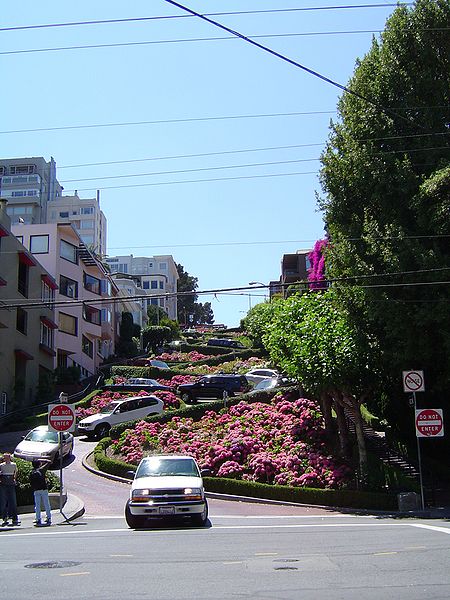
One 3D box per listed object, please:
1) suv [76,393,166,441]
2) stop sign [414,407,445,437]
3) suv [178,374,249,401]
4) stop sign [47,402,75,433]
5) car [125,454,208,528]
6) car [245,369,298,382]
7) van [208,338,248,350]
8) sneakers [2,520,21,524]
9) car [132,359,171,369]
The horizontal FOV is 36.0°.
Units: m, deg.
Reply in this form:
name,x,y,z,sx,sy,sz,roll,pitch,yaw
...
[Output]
name,x,y,z,sx,sy,sz,roll,pitch,yaw
suv,-4.324,4.988,29.988,3.603,1.547,1.701,0,-5,-37
stop sign,4.908,2.945,16.668,0.750,0.625,0.499,-2,-10,-2
suv,-0.567,4.821,37.325,3.382,1.428,1.573,0,-4,24
stop sign,-3.943,2.830,16.647,0.601,0.658,0.423,0,-10,-15
car,-1.129,3.769,13.352,1.502,1.252,1.449,-2,-10,-4
car,2.562,4.275,40.335,2.245,0.809,1.029,-8,-6,28
van,0.106,4.364,69.073,3.165,1.159,1.470,0,3,12
sneakers,-4.711,4.881,15.220,0.235,0.063,0.174,8,-12,-29
car,-5.299,4.466,48.475,2.327,0.868,1.072,-3,-5,19
